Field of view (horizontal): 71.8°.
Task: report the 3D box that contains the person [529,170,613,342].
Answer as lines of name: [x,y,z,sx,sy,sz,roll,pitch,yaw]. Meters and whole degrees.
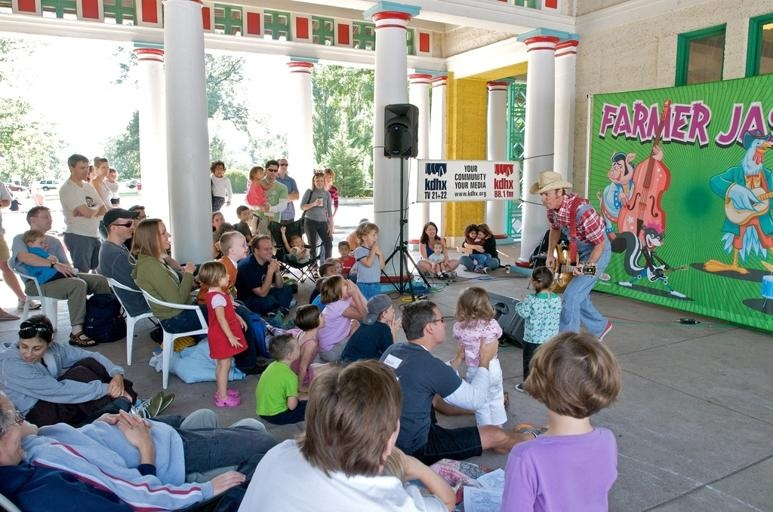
person: [2.216,-0.088,5.969,1.221,2.143,0.882,-1,4,-10]

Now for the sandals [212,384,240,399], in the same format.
sandals: [-1.602,1.358,5.366,0.252,0.100,0.111,-2,4,7]

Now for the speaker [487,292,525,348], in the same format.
speaker: [1.542,0.801,6.809,0.422,0.633,0.539,2,-10,5]

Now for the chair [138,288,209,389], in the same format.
chair: [-2.137,0.819,5.904,0.982,1.206,0.997,-3,7,-27]

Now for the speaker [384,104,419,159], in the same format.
speaker: [0.244,-2.071,8.840,0.534,0.865,0.345,-2,11,-4]

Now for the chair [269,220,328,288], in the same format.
chair: [-1.655,-0.073,9.695,0.867,1.056,0.770,-12,22,-44]

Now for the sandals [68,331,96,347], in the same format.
sandals: [-3.781,1.031,6.651,0.332,0.135,0.152,2,5,28]

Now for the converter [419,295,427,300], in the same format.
converter: [0.597,0.673,8.765,0.127,0.058,0.172,-1,1,9]

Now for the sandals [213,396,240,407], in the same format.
sandals: [-1.555,1.415,5.243,0.198,0.078,0.098,0,1,-16]

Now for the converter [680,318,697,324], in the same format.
converter: [4.226,0.913,7.461,0.152,0.043,0.107,-1,0,28]
